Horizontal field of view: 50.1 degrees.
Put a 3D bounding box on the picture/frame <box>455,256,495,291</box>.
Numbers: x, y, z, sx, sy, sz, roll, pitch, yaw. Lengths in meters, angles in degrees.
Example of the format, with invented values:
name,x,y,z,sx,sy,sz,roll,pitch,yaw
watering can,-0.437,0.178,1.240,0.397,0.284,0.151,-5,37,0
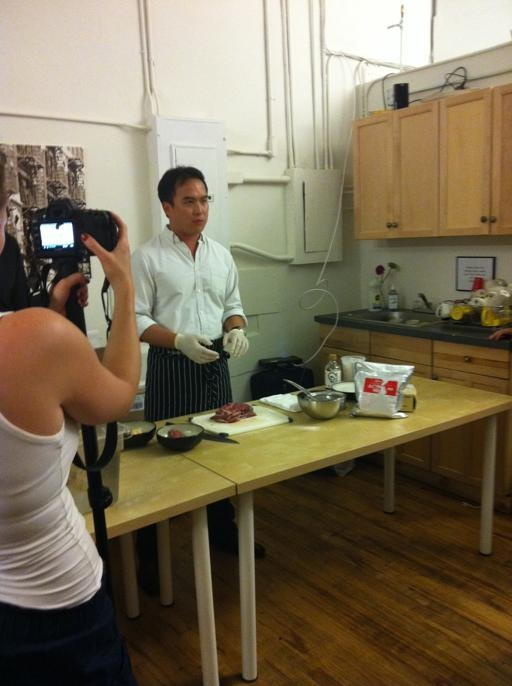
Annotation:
name,x,y,z,sx,sy,sz,roll,pitch,yaw
picture/frame,1.417,-0.449,3.500,0.040,0.196,0.281,-6,5,-25

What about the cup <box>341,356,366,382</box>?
name,x,y,z,sx,sy,sz,roll,pitch,yaw
cup,0.416,0.117,2.360,0.090,0.103,0.111,-2,8,8

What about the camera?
name,x,y,z,sx,sy,sz,roll,pitch,yaw
camera,-0.281,-0.187,0.919,0.146,0.082,0.115,3,7,32

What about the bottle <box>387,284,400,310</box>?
name,x,y,z,sx,sy,sz,roll,pitch,yaw
bottle,1.034,-0.339,4.102,0.086,0.181,0.207,-1,8,13

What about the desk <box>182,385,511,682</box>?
name,x,y,z,sx,sy,sz,roll,pitch,yaw
desk,0.387,0.657,2.063,1.475,0.789,0.467,-9,10,-38

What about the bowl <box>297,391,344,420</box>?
name,x,y,z,sx,sy,sz,roll,pitch,yaw
bowl,0.234,0.229,2.057,0.126,0.058,0.120,-3,3,0

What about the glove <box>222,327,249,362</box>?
name,x,y,z,sx,sy,sz,roll,pitch,yaw
glove,-0.092,0.004,2.481,0.109,0.134,0.219,-4,8,-4

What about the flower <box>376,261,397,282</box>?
name,x,y,z,sx,sy,sz,roll,pitch,yaw
flower,1.000,-0.541,4.153,0.171,0.135,0.183,-2,8,11

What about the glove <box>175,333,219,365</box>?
name,x,y,z,sx,sy,sz,roll,pitch,yaw
glove,-0.240,0.024,2.217,0.092,0.111,0.196,-11,11,-41
